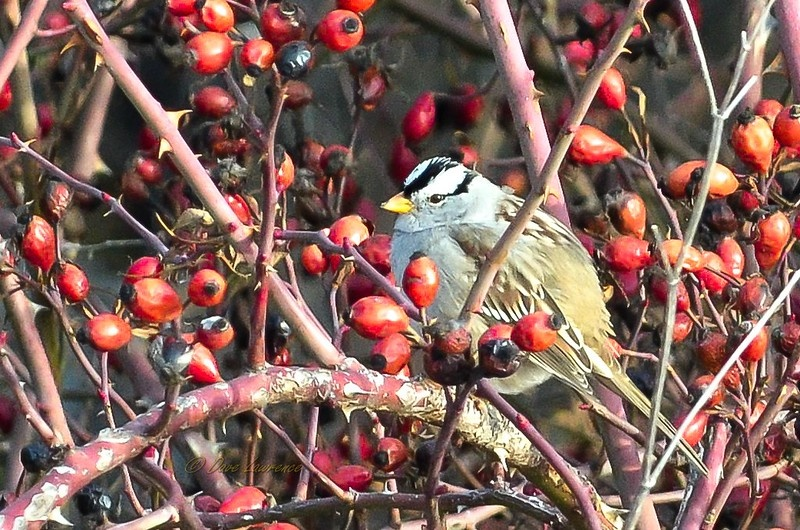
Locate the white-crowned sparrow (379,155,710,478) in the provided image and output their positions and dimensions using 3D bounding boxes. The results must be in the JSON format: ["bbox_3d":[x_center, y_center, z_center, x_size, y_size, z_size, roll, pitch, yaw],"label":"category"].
[{"bbox_3d":[0.383,0.041,4.851,1.746,0.775,0.588,30,17,7],"label":"white-crowned sparrow"}]
